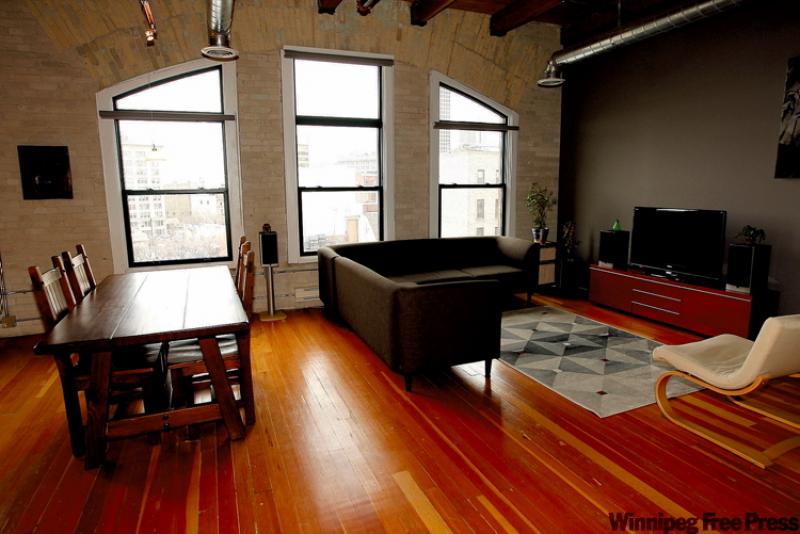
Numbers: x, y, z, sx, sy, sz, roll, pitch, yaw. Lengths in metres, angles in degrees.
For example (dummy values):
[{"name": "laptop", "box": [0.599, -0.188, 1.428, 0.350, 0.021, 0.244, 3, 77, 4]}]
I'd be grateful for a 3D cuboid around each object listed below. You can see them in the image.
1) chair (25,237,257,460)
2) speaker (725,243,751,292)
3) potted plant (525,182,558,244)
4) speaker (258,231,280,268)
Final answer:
[{"name": "chair", "box": [-2.221, 0.704, 4.974, 1.787, 1.622, 1.452, -4, 12, -15]}, {"name": "speaker", "box": [3.913, 0.006, 6.210, 0.092, 0.519, 0.269, -11, 15, -39]}, {"name": "potted plant", "box": [2.240, -0.853, 8.605, 0.456, 0.945, 1.145, 2, 12, 16]}, {"name": "speaker", "box": [-1.775, -0.251, 7.344, 0.239, 0.470, 0.282, -4, 12, -12]}]
